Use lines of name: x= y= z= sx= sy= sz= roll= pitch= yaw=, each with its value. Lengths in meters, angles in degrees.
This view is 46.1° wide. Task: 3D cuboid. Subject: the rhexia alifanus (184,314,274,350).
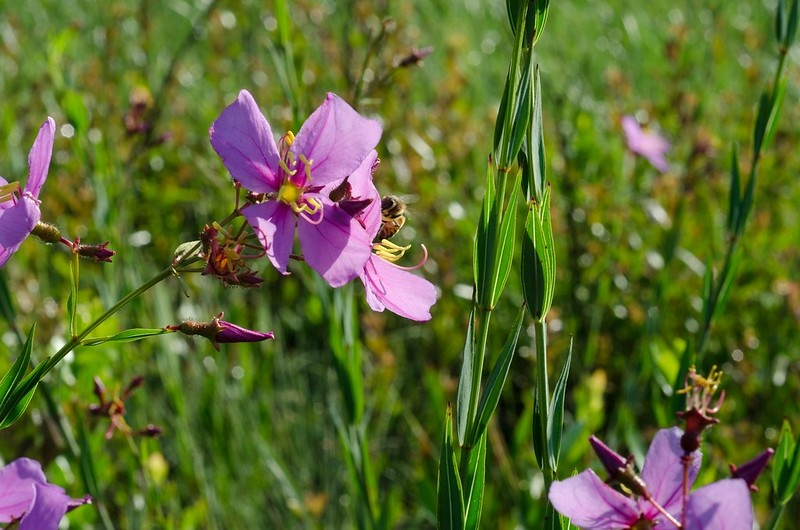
rhexia alifanus: x=-0.540 y=0.207 z=3.011 sx=0.322 sy=0.108 sz=0.177 roll=-6 pitch=-5 yaw=19

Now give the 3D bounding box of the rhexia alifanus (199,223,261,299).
rhexia alifanus: x=-0.541 y=-0.023 z=2.983 sx=0.184 sy=0.206 sz=0.196 roll=-1 pitch=-5 yaw=-21
